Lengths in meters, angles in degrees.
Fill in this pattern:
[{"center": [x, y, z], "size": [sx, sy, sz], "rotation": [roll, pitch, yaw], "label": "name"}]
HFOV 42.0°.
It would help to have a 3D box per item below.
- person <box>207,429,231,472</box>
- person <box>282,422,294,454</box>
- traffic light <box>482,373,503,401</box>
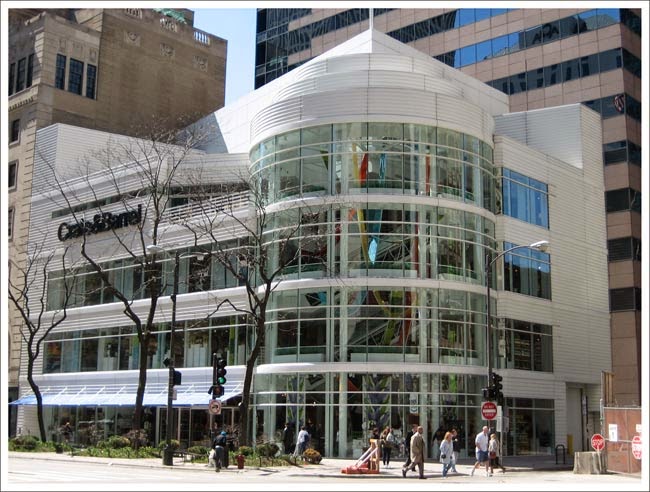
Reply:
[{"center": [-5.618, 10.889, 45.177], "size": [0.974, 2.248, 1.525], "rotation": [3, -19, -7], "label": "person"}, {"center": [-2.236, 11.810, 52.423], "size": [0.692, 2.005, 0.731], "rotation": [-1, -19, 4], "label": "person"}, {"center": [9.487, 7.942, 47.921], "size": [1.106, 1.589, 0.555], "rotation": [1, -19, -2], "label": "traffic light"}]
